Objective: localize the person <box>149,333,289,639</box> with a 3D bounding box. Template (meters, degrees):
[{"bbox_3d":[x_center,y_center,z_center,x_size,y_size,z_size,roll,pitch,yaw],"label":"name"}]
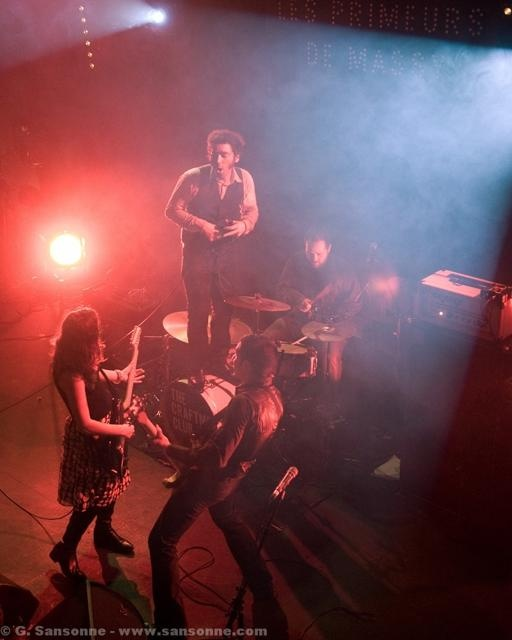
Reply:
[{"bbox_3d":[-0.207,0.842,2.761,0.731,1.430,1.006,3,15,-12],"label":"person"}]

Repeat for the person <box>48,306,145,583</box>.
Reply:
[{"bbox_3d":[-0.933,0.785,2.968,0.552,1.713,0.724,-2,31,-13],"label":"person"}]

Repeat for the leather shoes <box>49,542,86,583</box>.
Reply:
[{"bbox_3d":[-1.071,1.421,2.920,0.105,0.136,0.354,19,-20,-6],"label":"leather shoes"}]

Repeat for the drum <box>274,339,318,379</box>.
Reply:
[{"bbox_3d":[0.264,0.291,3.362,0.247,0.222,0.098,4,8,7],"label":"drum"}]

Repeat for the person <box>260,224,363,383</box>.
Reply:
[{"bbox_3d":[0.390,-0.141,3.426,0.559,1.086,0.562,11,40,17],"label":"person"}]
